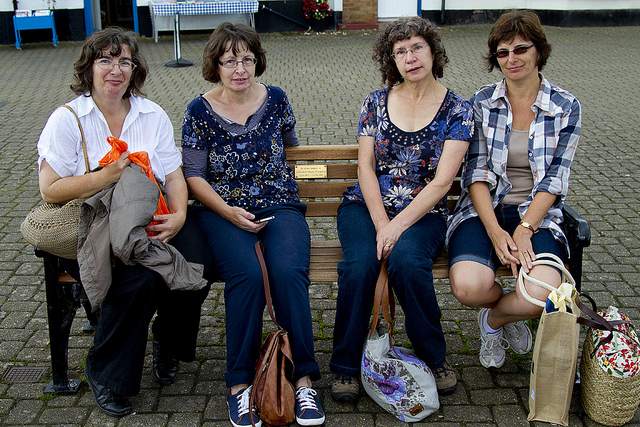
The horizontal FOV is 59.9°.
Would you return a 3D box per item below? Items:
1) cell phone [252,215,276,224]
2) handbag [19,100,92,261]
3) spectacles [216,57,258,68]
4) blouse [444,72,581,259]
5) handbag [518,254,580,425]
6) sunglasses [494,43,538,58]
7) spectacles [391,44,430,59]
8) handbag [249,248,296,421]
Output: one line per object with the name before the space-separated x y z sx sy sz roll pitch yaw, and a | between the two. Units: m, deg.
cell phone | -0.394 0.042 3.899 0.122 0.022 0.216 -12 7 -35
handbag | -1.727 -0.190 3.578 0.485 0.995 0.527 -11 19 -21
spectacles | -0.596 -1.060 3.914 0.267 0.058 0.100 -6 18 -9
blouse | 1.371 -0.350 3.946 0.838 1.221 0.633 4 19 21
handbag | 1.471 0.788 3.526 0.347 0.815 0.838 3 22 18
sunglasses | 1.375 -1.137 3.876 0.265 0.087 0.092 4 19 21
spectacles | 0.642 -1.141 3.918 0.243 0.091 0.073 0 18 10
handbag | -0.312 0.826 3.501 0.276 0.877 0.480 -2 18 4
